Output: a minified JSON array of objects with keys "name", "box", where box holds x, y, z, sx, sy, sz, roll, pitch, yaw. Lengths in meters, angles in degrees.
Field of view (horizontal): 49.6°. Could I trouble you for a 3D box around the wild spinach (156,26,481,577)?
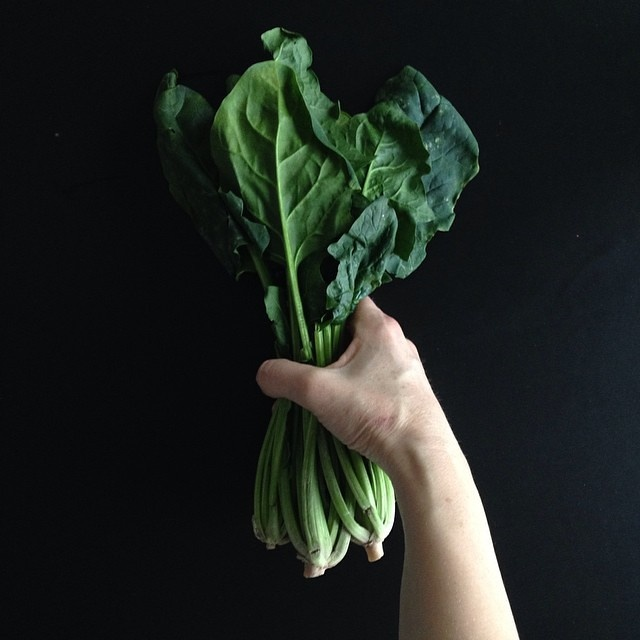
[{"name":"wild spinach","box":[-0.035,-0.025,1.259,0.458,1.047,0.186,1,5,-2]}]
